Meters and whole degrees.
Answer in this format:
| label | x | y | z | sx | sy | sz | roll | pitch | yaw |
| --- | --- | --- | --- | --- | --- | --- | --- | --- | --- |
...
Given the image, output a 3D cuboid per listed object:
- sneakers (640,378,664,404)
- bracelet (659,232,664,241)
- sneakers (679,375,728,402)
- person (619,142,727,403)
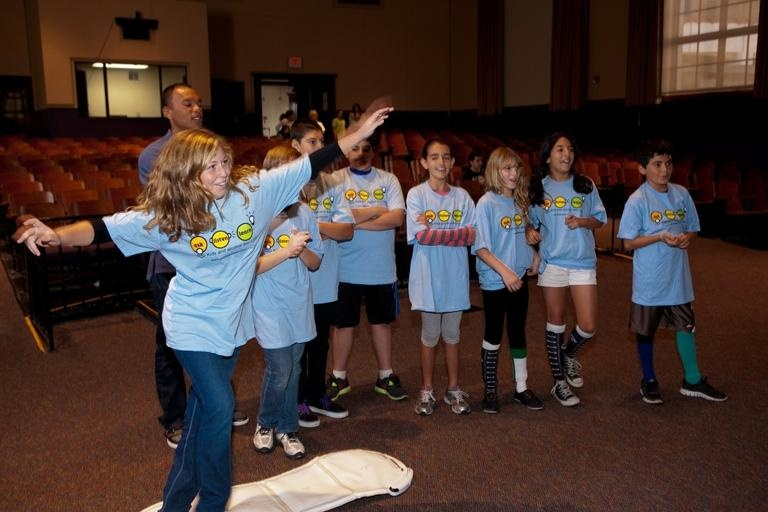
| label | x | y | z | sx | sy | sz | roll | pitch | yaw |
| --- | --- | --- | --- | --- | --- | --- | --- | --- | --- |
| sneakers | 2.162 | 1.084 | 4.195 | 0.102 | 0.111 | 0.249 | -1 | 3 | 1 |
| bracelet | 2.164 | -0.154 | 4.077 | 0.034 | 0.043 | 0.046 | 6 | 40 | 11 |
| sneakers | 2.586 | 1.088 | 4.300 | 0.378 | 0.196 | 0.145 | 5 | 4 | 21 |
| person | 2.290 | 0.106 | 4.242 | 0.764 | 2.015 | 0.656 | -2 | 13 | 0 |
